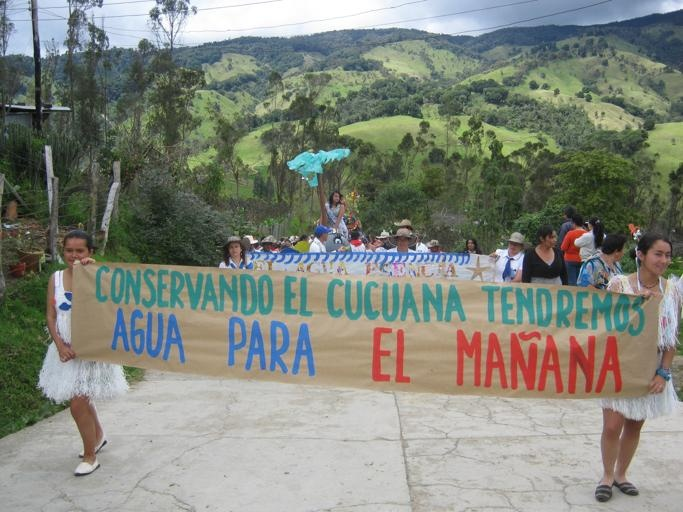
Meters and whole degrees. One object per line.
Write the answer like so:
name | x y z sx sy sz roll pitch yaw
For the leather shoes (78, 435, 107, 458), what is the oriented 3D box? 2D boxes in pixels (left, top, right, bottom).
leather shoes | -2.646 2.059 7.436 0.122 0.097 0.345 -34 1 26

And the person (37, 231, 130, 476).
person | -2.763 0.958 7.298 0.803 2.376 1.126 -9 15 -35

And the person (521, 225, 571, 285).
person | 2.728 -0.009 9.216 0.657 0.836 0.366 -1 12 0

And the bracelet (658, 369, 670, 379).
bracelet | 3.158 1.162 6.747 0.083 0.060 0.111 14 -8 5

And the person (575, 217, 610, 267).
person | 4.046 -0.083 11.196 0.432 1.086 0.383 -11 24 -22

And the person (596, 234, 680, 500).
person | 2.946 1.012 6.745 0.668 2.433 1.231 4 13 23
